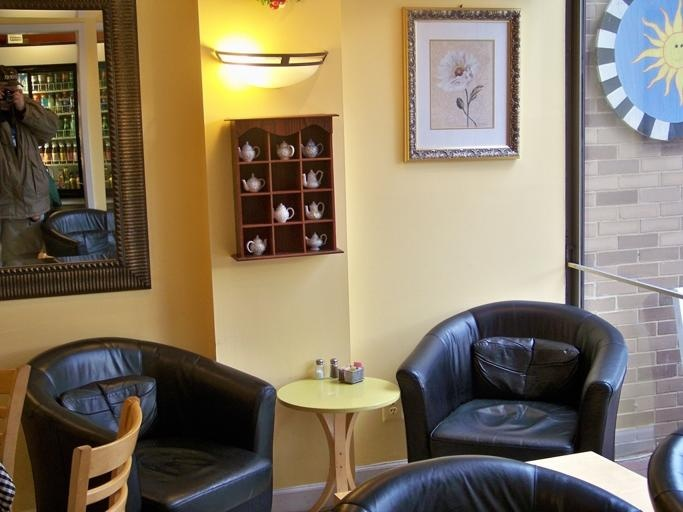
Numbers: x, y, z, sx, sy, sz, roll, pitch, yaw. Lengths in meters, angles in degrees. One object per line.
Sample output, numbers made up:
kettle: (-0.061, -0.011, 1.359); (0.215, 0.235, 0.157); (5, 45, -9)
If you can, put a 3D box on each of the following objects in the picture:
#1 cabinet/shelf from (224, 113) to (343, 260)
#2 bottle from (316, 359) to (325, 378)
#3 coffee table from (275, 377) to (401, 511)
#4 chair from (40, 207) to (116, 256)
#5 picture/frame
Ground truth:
cabinet/shelf: (-0.321, -0.371, 3.540); (0.605, 0.798, 0.228); (-3, -2, -5)
bottle: (-0.131, 0.677, 3.707); (0.058, 0.123, 0.090); (-2, 5, -3)
coffee table: (-0.038, 1.046, 3.680); (0.699, 0.824, 0.720); (0, -3, -13)
chair: (-1.513, -0.165, 3.756); (0.368, 0.290, 0.376); (10, 12, 36)
picture/frame: (0.730, -1.123, 3.886); (0.869, 1.064, 0.049); (-2, 8, -10)
